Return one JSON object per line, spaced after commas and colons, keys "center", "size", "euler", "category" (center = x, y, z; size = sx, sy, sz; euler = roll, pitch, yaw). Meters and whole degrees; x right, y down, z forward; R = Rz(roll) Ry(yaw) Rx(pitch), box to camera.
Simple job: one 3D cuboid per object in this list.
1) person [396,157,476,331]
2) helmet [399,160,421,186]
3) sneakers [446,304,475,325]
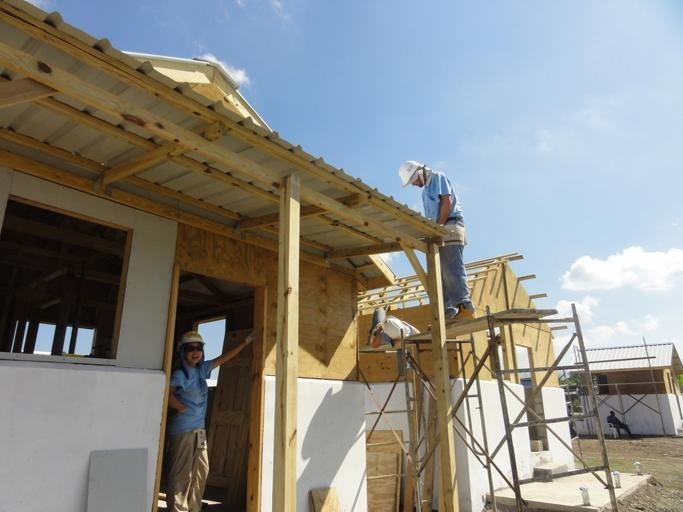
{"center": [1.513, -0.409, 6.642], "size": [0.805, 2.756, 0.754], "euler": [-15, -24, 29], "category": "person"}
{"center": [1.124, -1.427, 7.215], "size": [0.250, 0.314, 0.420], "euler": [17, -53, -6], "category": "helmet"}
{"center": [1.783, 0.900, 6.348], "size": [0.491, 0.215, 0.168], "euler": [-18, -43, 29], "category": "sneakers"}
